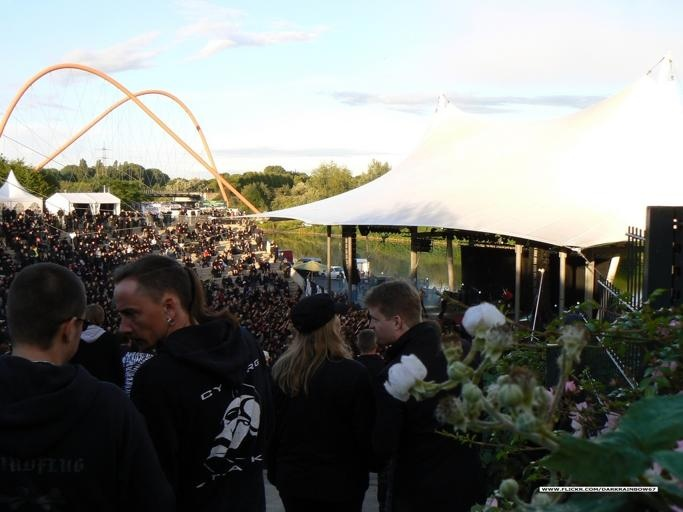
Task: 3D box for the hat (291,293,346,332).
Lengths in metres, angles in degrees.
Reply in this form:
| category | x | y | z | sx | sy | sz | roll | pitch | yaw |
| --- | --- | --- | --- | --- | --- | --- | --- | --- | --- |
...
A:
| category | x | y | z | sx | sy | sz | roll | pitch | yaw |
| --- | --- | --- | --- | --- | --- | --- | --- | --- | --- |
| hat | -0.128 | 0.317 | 3.686 | 0.172 | 0.128 | 0.248 | 3 | 39 | 38 |

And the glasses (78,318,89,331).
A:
| category | x | y | z | sx | sy | sz | roll | pitch | yaw |
| --- | --- | --- | --- | --- | --- | --- | --- | --- | --- |
| glasses | -1.002 | 0.264 | 2.539 | 0.058 | 0.034 | 0.045 | 8 | 4 | 30 |
